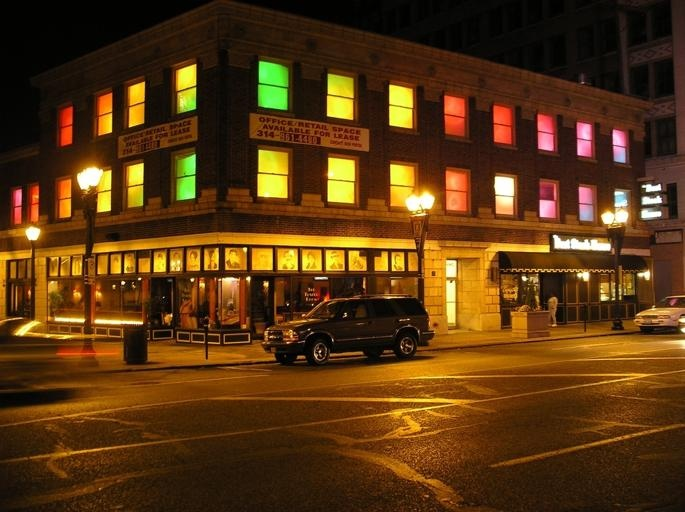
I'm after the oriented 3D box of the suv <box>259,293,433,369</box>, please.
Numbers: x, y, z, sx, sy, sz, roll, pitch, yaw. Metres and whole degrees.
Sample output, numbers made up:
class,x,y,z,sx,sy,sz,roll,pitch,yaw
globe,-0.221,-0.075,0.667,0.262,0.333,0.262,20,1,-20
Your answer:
class,x,y,z,sx,sy,sz,roll,pitch,yaw
suv,0.184,2.676,25.368,5.370,1.949,2.419,5,-10,-34
